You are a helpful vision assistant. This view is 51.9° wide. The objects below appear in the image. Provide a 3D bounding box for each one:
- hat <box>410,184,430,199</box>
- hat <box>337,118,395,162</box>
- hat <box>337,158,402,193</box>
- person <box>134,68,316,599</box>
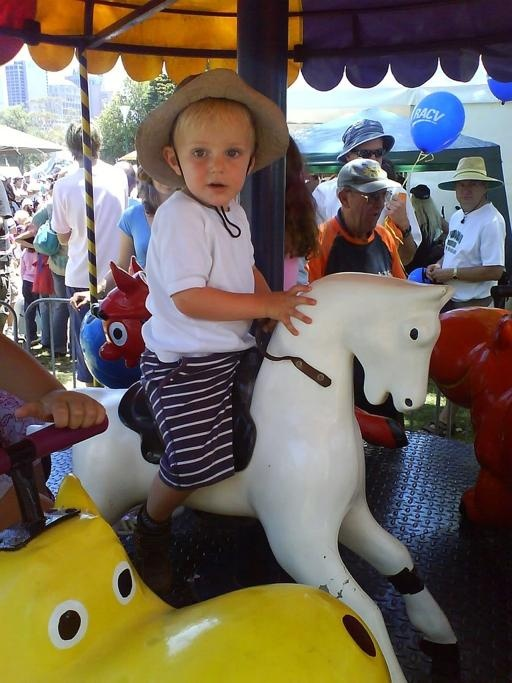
[{"bbox_3d":[1.569,-1.418,5.011,0.146,0.106,0.196,-5,33,-8],"label":"hat"},{"bbox_3d":[0.690,-1.390,3.563,0.296,0.170,0.328,-16,-18,-13],"label":"hat"},{"bbox_3d":[0.502,-0.765,2.329,0.228,0.110,0.172,16,33,33],"label":"hat"},{"bbox_3d":[-0.108,0.015,1.265,0.417,1.205,0.433,-2,2,-7],"label":"person"}]
